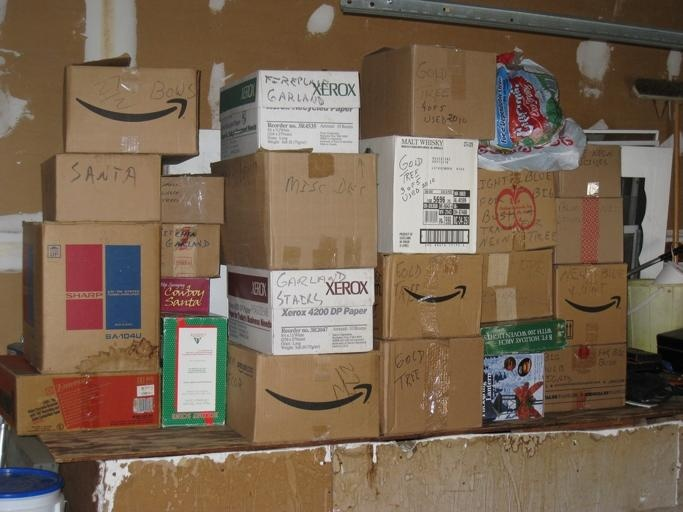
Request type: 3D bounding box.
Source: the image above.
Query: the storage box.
[{"bbox_3d":[0.192,0.212,7.481,2.957,2.047,1.814,0,79,-14],"label":"storage box"}]
